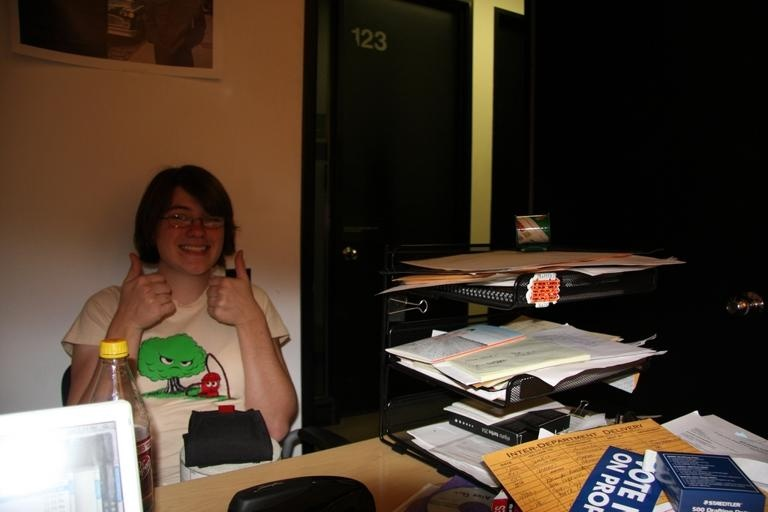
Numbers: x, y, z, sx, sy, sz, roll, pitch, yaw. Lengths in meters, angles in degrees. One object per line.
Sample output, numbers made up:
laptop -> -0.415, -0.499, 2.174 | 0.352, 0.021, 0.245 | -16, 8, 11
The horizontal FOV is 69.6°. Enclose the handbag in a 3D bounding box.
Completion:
handbag -> -0.484, 0.516, 1.711 | 0.214, 0.063, 0.202 | 2, 9, -17

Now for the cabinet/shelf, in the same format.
cabinet/shelf -> 0.302, 0.186, 1.457 | 0.734, 0.477, 0.563 | -4, 7, -31
